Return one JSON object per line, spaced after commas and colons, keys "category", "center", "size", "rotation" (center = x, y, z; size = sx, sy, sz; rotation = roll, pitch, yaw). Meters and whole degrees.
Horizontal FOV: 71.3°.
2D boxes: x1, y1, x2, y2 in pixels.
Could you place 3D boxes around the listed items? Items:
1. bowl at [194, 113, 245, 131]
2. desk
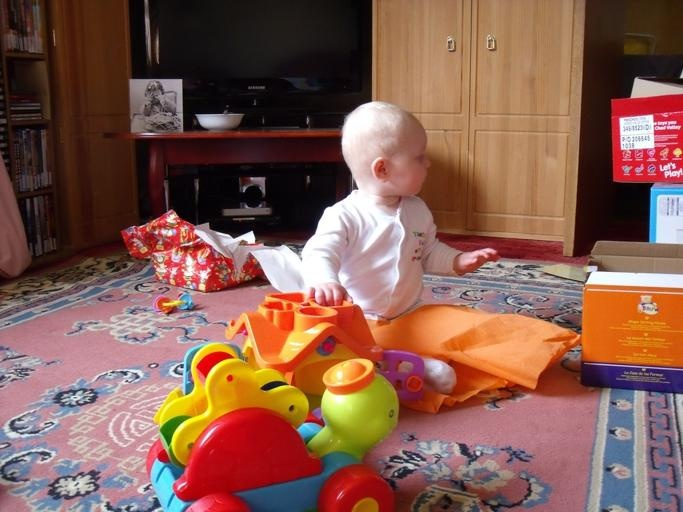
{"category": "bowl", "center": [-0.720, -0.783, 2.778], "size": [0.170, 0.055, 0.164], "rotation": [-2, 15, 1]}
{"category": "desk", "center": [-0.629, -0.404, 2.956], "size": [1.375, 0.612, 0.748], "rotation": [-3, 7, -20]}
